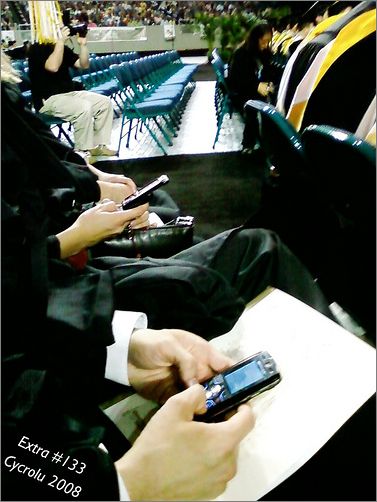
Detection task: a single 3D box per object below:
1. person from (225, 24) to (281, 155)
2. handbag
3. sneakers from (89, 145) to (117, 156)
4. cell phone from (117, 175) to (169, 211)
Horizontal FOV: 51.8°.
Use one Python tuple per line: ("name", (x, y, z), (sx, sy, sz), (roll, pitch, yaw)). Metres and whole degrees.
("person", (0.620, -1.549, 3.739), (0.547, 1.192, 0.501), (17, 46, 27))
("handbag", (-0.107, -0.022, 1.182), (0.276, 0.121, 0.103), (-1, 9, -5))
("sneakers", (-0.830, -0.978, 3.841), (0.284, 0.132, 0.100), (-7, 37, -11))
("cell phone", (-0.095, -0.186, 1.146), (0.218, 0.063, 0.076), (-30, 22, -33))
